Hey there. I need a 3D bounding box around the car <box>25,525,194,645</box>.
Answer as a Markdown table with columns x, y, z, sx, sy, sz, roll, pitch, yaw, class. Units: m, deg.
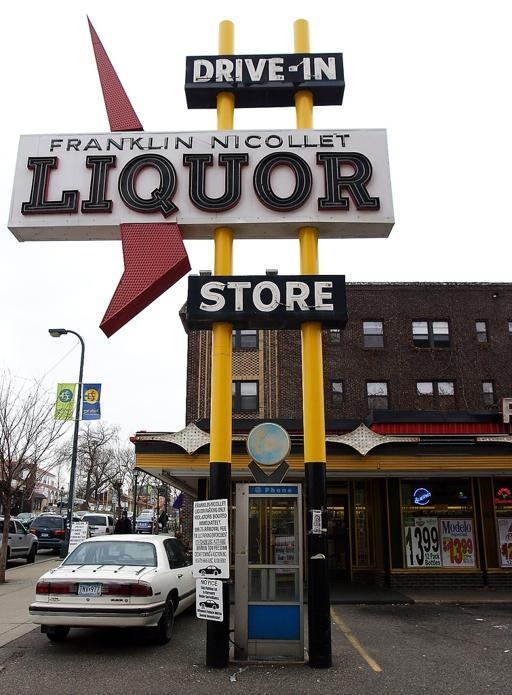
| x | y | z | sx | sy | sz | roll | pitch | yaw | class |
| --- | --- | --- | --- | --- | --- | --- | --- | --- | --- |
| -1.698 | 3.091 | 7.389 | 1.168 | 0.885 | 2.606 | -2 | -18 | 4 | car |
